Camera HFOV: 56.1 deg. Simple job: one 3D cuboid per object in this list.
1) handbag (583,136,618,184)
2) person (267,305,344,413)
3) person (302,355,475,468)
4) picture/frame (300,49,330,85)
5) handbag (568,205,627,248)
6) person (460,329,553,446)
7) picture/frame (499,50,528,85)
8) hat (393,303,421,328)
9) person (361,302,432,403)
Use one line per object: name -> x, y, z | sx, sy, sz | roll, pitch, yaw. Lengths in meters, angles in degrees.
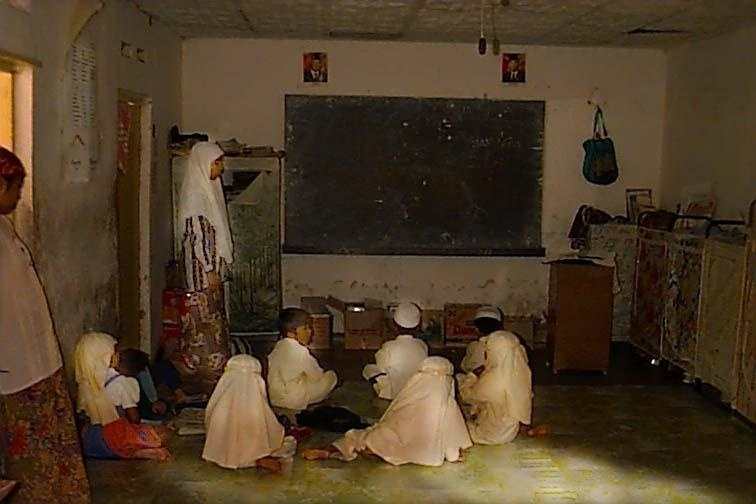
handbag -> 2.790, -1.174, 8.995 | 0.450, 0.584, 0.330 | 0, -14, 19
person -> -0.798, 1.035, 7.243 | 0.628, 0.958, 0.686 | -3, 5, -33
person -> 0.202, 1.469, 6.601 | 1.792, 1.020, 0.978 | -12, -22, 39
picture/frame -> -0.776, -2.323, 8.814 | 0.460, 0.490, 0.057 | 0, 2, 0
handbag -> 2.645, -0.354, 8.745 | 0.602, 0.569, 0.226 | 9, -9, 3
person -> 1.082, 1.248, 6.889 | 0.777, 1.098, 0.935 | -19, 23, -40
picture/frame -> 1.679, -2.333, 8.883 | 0.450, 0.426, 0.042 | -2, 5, -1
hat -> 0.306, 0.672, 7.454 | 0.267, 0.106, 0.353 | 2, 28, 3
person -> 0.292, 0.979, 7.386 | 0.848, 0.985, 0.623 | -4, 11, -13
